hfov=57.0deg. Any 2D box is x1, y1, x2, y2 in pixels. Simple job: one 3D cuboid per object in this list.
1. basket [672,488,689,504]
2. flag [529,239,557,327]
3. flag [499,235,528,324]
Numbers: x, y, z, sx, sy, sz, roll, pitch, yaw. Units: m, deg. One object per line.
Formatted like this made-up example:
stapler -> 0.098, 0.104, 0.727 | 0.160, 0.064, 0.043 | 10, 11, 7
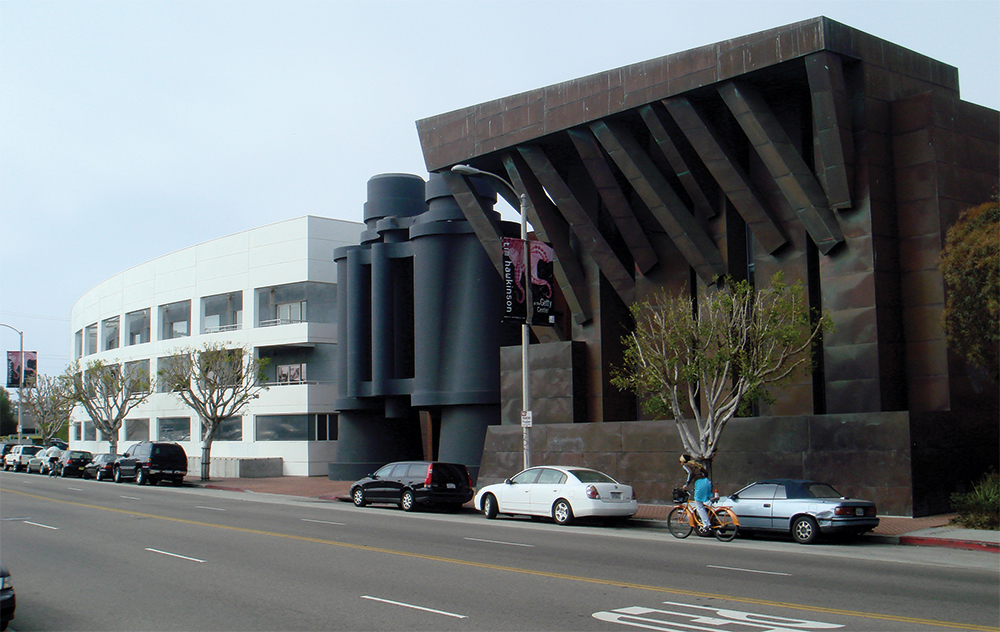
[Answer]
basket -> 5.794, 5.825, 30.035 | 0.647, 0.619, 0.499 | -5, -10, 27
flag -> 1.769, -1.312, 37.110 | 0.798, 3.306, 2.150 | -4, -12, 9
flag -> 0.637, -1.465, 36.292 | 0.913, 3.213, 0.835 | 0, -11, -10
